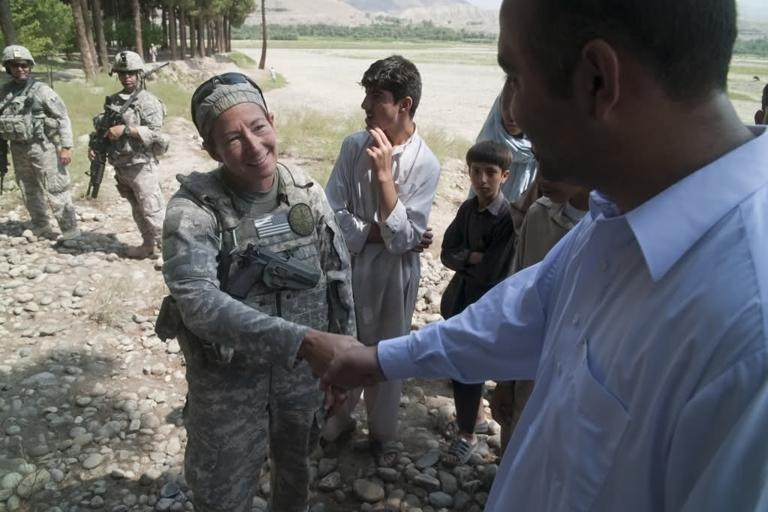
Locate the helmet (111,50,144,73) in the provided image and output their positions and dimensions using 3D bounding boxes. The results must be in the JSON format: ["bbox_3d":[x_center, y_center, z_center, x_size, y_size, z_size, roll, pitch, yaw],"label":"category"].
[{"bbox_3d":[-3.206,-2.397,7.287,0.379,0.250,0.396,5,24,-5],"label":"helmet"}]

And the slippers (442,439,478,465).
[{"bbox_3d":[0.524,1.379,4.077,0.126,0.094,0.232,4,17,36],"label":"slippers"}]

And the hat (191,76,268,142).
[{"bbox_3d":[-0.760,-0.727,2.851,0.344,0.300,0.161,-3,21,-17],"label":"hat"}]
